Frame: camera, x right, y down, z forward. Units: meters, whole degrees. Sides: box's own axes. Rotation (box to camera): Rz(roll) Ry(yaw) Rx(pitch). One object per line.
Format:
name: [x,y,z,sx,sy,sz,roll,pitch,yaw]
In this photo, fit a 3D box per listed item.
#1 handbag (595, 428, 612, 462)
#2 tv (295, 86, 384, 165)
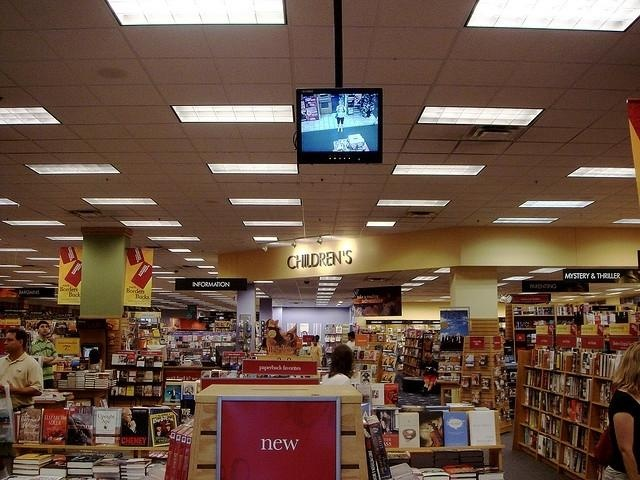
handbag: [2.455,1.800,4.408,0.120,0.338,0.288,-3,-11,25]
tv: [0.186,-1.212,5.327,0.867,0.702,0.280,0,-3,-1]
